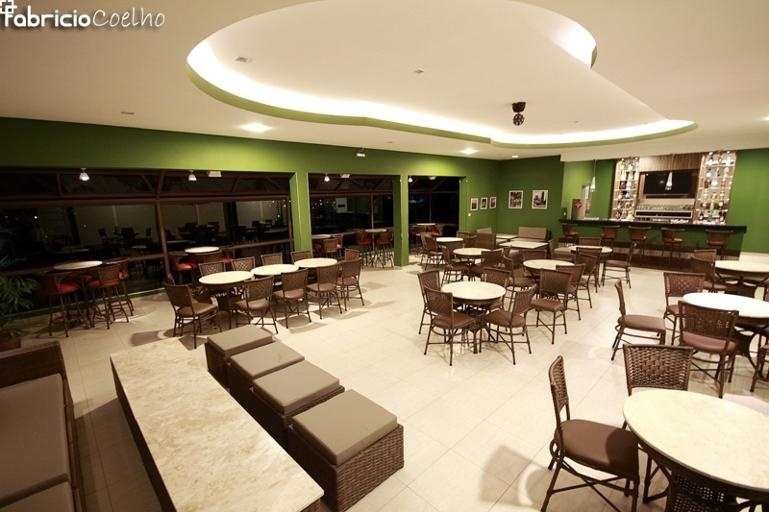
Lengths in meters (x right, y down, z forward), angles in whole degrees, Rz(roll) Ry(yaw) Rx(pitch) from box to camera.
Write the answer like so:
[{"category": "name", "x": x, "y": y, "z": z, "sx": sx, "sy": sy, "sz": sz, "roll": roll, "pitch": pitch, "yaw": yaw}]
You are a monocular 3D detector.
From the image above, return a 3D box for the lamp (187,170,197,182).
[{"category": "lamp", "x": -4.211, "y": -1.767, "z": 9.838, "sx": 0.144, "sy": 0.222, "sz": 0.732, "roll": -6, "pitch": 10, "yaw": -20}]

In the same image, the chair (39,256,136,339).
[{"category": "chair", "x": -5.972, "y": 0.748, "z": 9.058, "sx": 1.479, "sy": 1.283, "sz": 1.702, "roll": -8, "pitch": 11, "yaw": -31}]

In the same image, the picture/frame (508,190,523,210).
[{"category": "picture/frame", "x": 4.767, "y": -2.055, "z": 16.010, "sx": 0.056, "sy": 0.785, "sz": 0.653, "roll": -9, "pitch": 11, "yaw": -42}]

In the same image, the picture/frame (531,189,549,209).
[{"category": "picture/frame", "x": 5.377, "y": -1.964, "z": 15.378, "sx": 0.564, "sy": 0.602, "sz": 1.056, "roll": 8, "pitch": 5, "yaw": 11}]

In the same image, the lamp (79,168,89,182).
[{"category": "lamp", "x": -5.718, "y": -1.570, "z": 8.522, "sx": 0.171, "sy": 0.211, "sz": 0.169, "roll": -5, "pitch": 15, "yaw": -16}]
